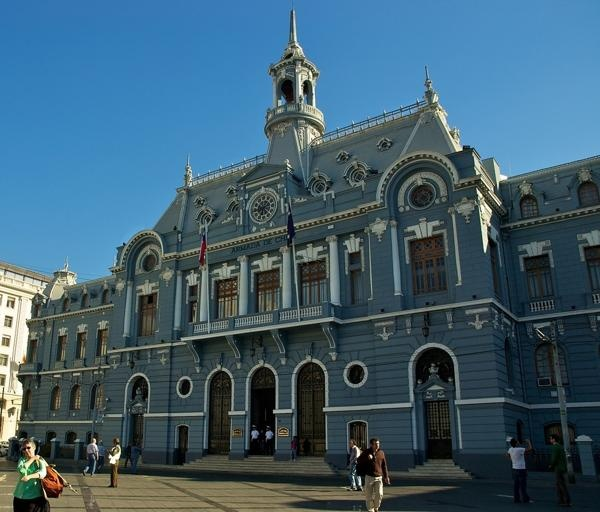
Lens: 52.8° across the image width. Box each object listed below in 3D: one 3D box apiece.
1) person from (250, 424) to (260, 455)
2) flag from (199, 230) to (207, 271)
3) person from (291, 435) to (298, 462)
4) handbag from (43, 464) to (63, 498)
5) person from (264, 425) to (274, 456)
[{"bbox_3d":[-2.514,10.855,35.639,0.808,1.630,0.452,15,-25,-42],"label":"person"},{"bbox_3d":[-6.283,-0.605,39.340,0.505,2.657,1.657,1,-18,-9],"label":"flag"},{"bbox_3d":[-0.275,10.594,33.225,0.371,1.293,0.661,-3,-18,2],"label":"person"},{"bbox_3d":[-5.412,4.953,13.145,0.300,0.702,0.510,-25,-20,14],"label":"handbag"},{"bbox_3d":[-1.740,10.737,35.205,0.505,1.602,1.320,-1,-18,-3],"label":"person"}]
